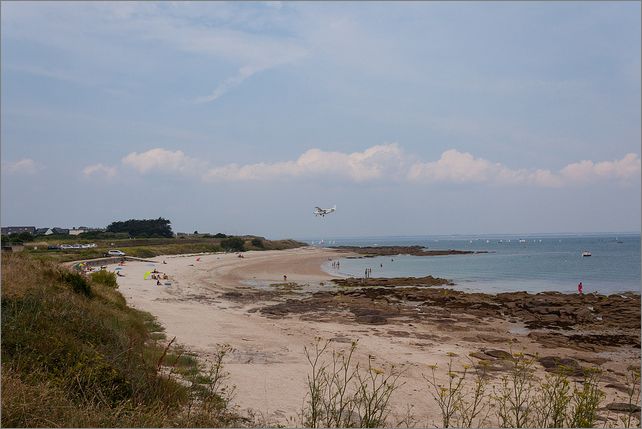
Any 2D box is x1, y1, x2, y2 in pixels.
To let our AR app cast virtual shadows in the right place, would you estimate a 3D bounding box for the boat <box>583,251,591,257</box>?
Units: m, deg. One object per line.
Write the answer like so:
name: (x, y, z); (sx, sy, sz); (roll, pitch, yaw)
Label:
boat: (51.950, 7.631, 107.574); (0.973, 0.440, 1.302); (1, 3, 8)
